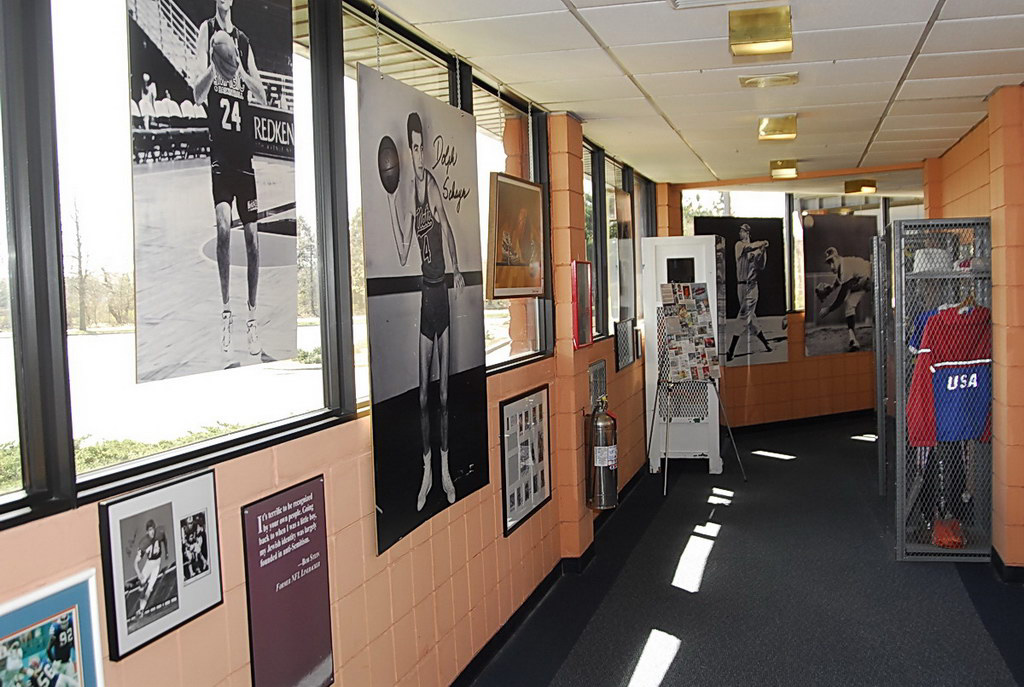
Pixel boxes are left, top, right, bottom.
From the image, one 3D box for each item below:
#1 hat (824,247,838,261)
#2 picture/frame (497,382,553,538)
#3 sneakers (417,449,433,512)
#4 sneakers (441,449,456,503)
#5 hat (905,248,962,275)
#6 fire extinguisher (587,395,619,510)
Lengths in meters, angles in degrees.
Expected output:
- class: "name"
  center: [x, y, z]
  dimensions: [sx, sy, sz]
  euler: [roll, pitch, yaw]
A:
- class: "hat"
  center: [4.652, -1.284, 10.061]
  dimensions: [0.135, 0.205, 0.189]
  euler: [-7, 18, 34]
- class: "picture/frame"
  center: [0.072, 0.790, 4.706]
  dimensions: [0.035, 1.140, 1.064]
  euler: [1, 4, 25]
- class: "sneakers"
  center: [-0.446, 0.714, 3.565]
  dimensions: [0.071, 0.272, 0.101]
  euler: [4, -10, -3]
- class: "sneakers"
  center: [-0.350, 0.734, 3.751]
  dimensions: [0.070, 0.104, 0.256]
  euler: [-5, 31, -2]
- class: "hat"
  center: [3.248, -0.621, 5.288]
  dimensions: [0.365, 0.199, 0.092]
  euler: [-2, 5, 1]
- class: "fire extinguisher"
  center: [0.746, 0.904, 5.672]
  dimensions: [0.207, 0.900, 0.354]
  euler: [0, 5, 15]
